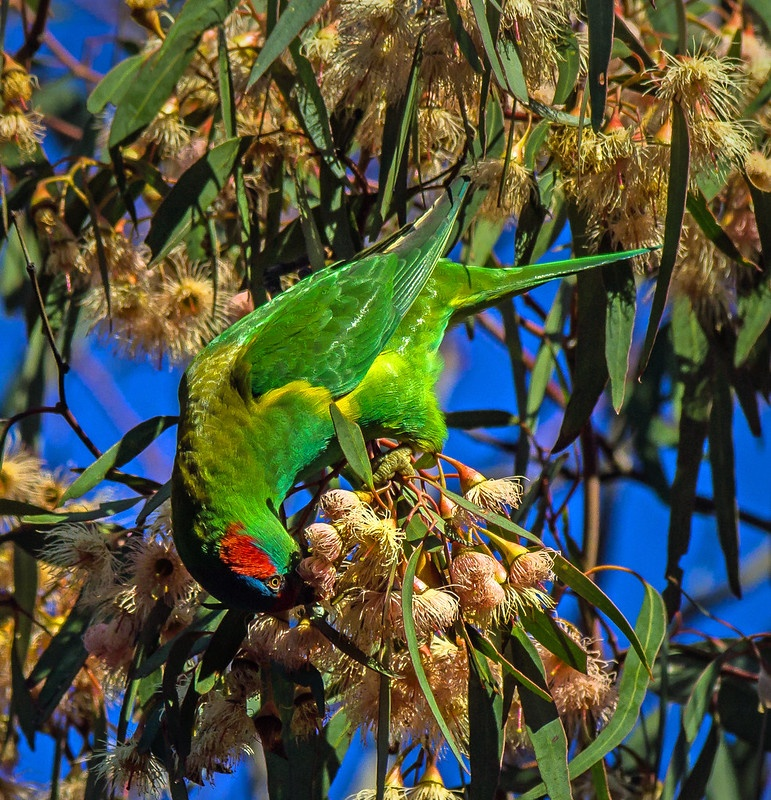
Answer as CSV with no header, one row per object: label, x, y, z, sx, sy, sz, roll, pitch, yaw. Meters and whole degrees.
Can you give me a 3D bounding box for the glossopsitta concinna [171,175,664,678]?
glossopsitta concinna,-0.094,-0.018,3.848,0.870,1.236,0.581,8,-10,-13
